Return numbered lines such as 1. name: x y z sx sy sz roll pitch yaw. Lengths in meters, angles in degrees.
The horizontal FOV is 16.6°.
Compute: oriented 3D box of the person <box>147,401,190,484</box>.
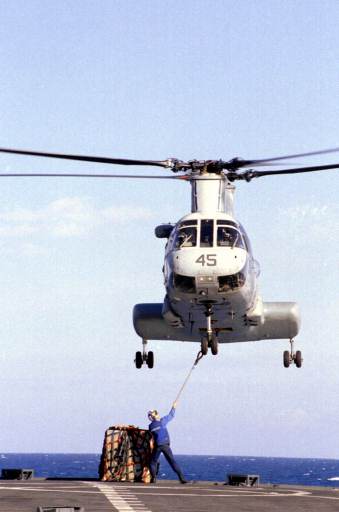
1. person: -0.058 3.957 24.187 0.729 1.530 0.892 -5 -12 26
